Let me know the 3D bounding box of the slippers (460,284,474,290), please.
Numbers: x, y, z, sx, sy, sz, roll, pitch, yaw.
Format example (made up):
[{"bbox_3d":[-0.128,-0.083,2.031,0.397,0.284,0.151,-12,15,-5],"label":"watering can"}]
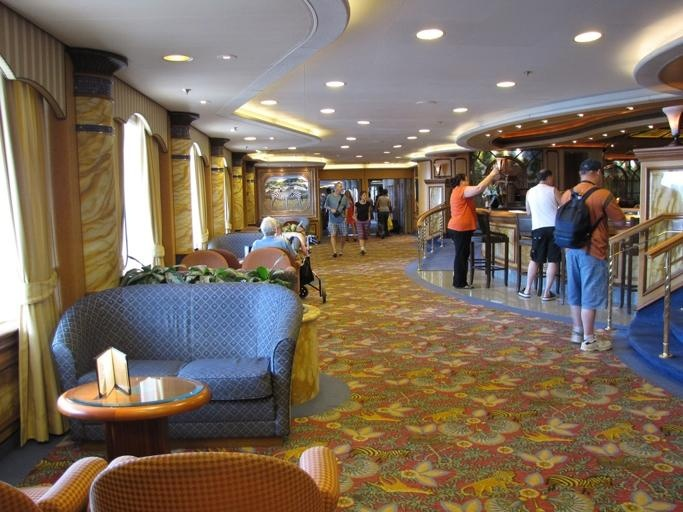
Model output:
[{"bbox_3d":[2.222,0.520,8.548,0.266,0.099,0.085,-2,0,-14],"label":"slippers"}]

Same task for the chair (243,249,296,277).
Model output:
[{"bbox_3d":[-0.855,0.051,5.776,0.421,0.479,0.402,0,-4,0],"label":"chair"}]

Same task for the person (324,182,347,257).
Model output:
[{"bbox_3d":[-0.071,-1.035,13.793,0.576,1.997,0.965,-5,8,-19],"label":"person"}]

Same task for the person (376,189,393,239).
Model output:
[{"bbox_3d":[1.735,-1.770,20.093,0.579,1.945,1.277,-2,8,4],"label":"person"}]

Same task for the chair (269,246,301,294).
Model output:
[{"bbox_3d":[-0.620,0.148,6.194,0.530,0.561,0.535,0,6,5],"label":"chair"}]

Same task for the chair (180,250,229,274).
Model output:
[{"bbox_3d":[-1.650,0.029,5.889,0.489,0.202,0.365,-3,8,-11],"label":"chair"}]

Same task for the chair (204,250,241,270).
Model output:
[{"bbox_3d":[-1.497,0.031,6.390,0.286,0.290,0.235,0,7,-10],"label":"chair"}]

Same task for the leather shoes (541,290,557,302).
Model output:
[{"bbox_3d":[3.217,0.577,7.443,0.324,0.115,0.113,-4,8,-12],"label":"leather shoes"}]

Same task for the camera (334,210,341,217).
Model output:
[{"bbox_3d":[-0.108,-1.207,13.683,0.193,0.190,0.086,-4,8,-16],"label":"camera"}]

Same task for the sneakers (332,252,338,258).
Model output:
[{"bbox_3d":[-0.179,-0.050,13.891,0.148,0.097,0.184,2,-5,0],"label":"sneakers"}]

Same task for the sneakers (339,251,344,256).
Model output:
[{"bbox_3d":[0.002,-0.104,14.194,0.122,0.110,0.120,0,0,0],"label":"sneakers"}]

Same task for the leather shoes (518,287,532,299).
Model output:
[{"bbox_3d":[2.939,0.569,7.792,0.111,0.110,0.267,0,7,-2],"label":"leather shoes"}]

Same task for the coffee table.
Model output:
[{"bbox_3d":[-1.059,0.788,2.564,0.529,0.319,0.502,-1,9,-2],"label":"coffee table"}]

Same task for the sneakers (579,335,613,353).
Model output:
[{"bbox_3d":[2.687,0.899,5.128,0.350,0.145,0.142,-3,3,-12],"label":"sneakers"}]

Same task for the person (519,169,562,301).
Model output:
[{"bbox_3d":[2.961,-0.294,7.234,0.571,1.938,1.018,0,8,19],"label":"person"}]

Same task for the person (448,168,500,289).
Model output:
[{"bbox_3d":[2.194,-0.423,8.329,0.687,1.944,1.236,-1,8,12],"label":"person"}]
